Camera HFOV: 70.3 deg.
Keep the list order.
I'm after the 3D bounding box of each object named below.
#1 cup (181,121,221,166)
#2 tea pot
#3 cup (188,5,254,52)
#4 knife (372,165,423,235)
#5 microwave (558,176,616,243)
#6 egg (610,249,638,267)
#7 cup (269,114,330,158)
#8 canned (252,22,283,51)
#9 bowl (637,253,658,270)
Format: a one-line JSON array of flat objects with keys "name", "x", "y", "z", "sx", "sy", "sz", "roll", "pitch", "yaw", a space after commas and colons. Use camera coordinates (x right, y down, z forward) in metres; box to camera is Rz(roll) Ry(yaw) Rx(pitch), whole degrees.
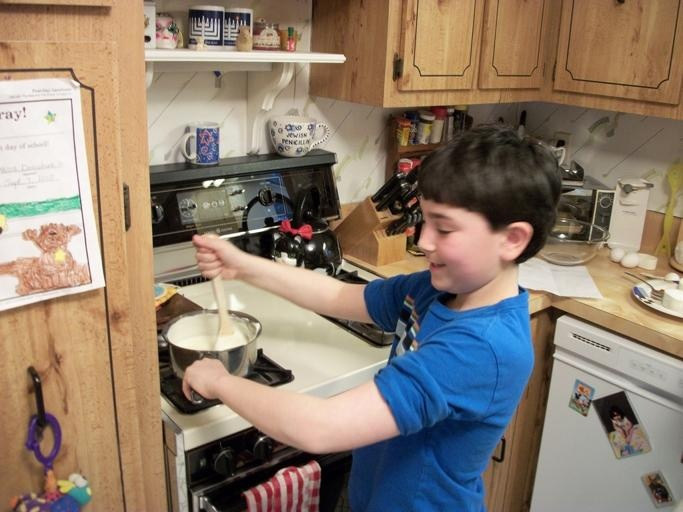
[{"name": "cup", "x": -0.503, "y": -0.386, "z": 1.698, "sx": 0.090, "sy": 0.132, "sz": 0.148, "roll": 18, "pitch": 29, "yaw": 24}, {"name": "tea pot", "x": -0.124, "y": -0.096, "z": 1.758, "sx": 0.221, "sy": 0.351, "sz": 0.337, "roll": 7, "pitch": 12, "yaw": 24}, {"name": "cup", "x": -0.386, "y": -0.723, "z": 1.596, "sx": 0.211, "sy": 0.140, "sz": 0.119, "roll": -11, "pitch": 18, "yaw": -39}, {"name": "knife", "x": 0.239, "y": -0.214, "z": 1.946, "sx": 0.069, "sy": 0.179, "sz": 0.295, "roll": 2, "pitch": -14, "yaw": -38}, {"name": "microwave", "x": 1.168, "y": -0.188, "z": 2.322, "sx": 0.248, "sy": 0.289, "sz": 0.219, "roll": 9, "pitch": 9, "yaw": 43}, {"name": "egg", "x": 1.250, "y": 0.010, "z": 2.148, "sx": 0.109, "sy": 0.053, "sz": 0.065, "roll": -1, "pitch": 24, "yaw": -30}, {"name": "cup", "x": -0.162, "y": -0.449, "z": 1.885, "sx": 0.212, "sy": 0.111, "sz": 0.156, "roll": -3, "pitch": 10, "yaw": -24}, {"name": "canned", "x": -0.255, "y": -0.735, "z": 1.649, "sx": 0.090, "sy": 0.083, "sz": 0.093, "roll": 2, "pitch": 12, "yaw": -1}, {"name": "bowl", "x": 1.345, "y": 0.023, "z": 2.157, "sx": 0.072, "sy": 0.046, "sz": 0.072, "roll": 0, "pitch": 16, "yaw": 0}]
